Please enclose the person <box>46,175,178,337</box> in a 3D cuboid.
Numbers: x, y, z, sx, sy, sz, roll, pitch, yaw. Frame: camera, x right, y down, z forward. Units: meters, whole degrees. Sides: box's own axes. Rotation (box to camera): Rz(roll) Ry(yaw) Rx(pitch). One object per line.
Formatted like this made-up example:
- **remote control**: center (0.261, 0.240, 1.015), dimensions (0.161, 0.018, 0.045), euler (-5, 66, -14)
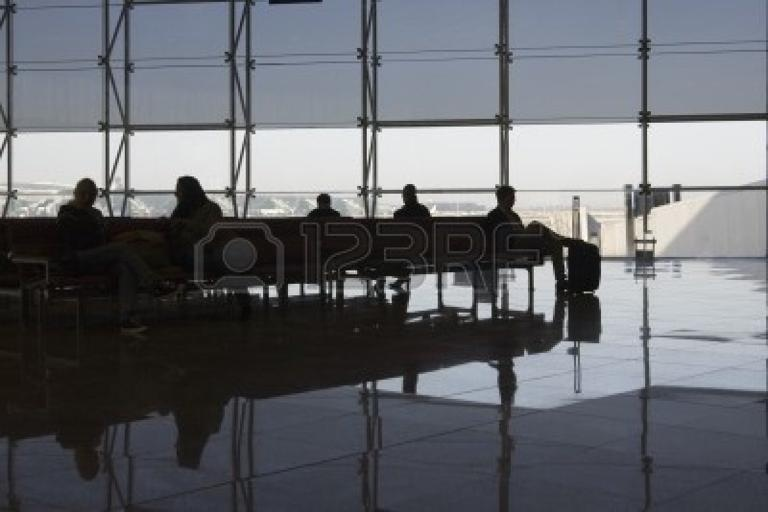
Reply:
- **person**: center (-2.693, -0.011, 10.126), dimensions (1.038, 1.418, 0.644), euler (-1, 12, -6)
